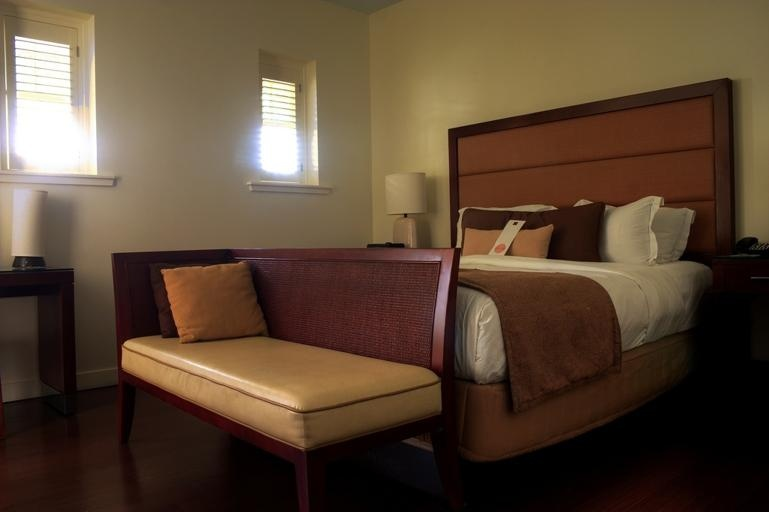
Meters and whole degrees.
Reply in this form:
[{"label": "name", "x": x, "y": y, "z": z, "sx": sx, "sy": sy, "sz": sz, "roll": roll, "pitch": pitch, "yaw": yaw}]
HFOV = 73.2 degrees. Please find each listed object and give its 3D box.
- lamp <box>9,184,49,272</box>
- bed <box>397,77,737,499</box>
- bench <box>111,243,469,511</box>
[{"label": "lamp", "x": -2.583, "y": -0.206, "z": 3.784, "sx": 0.223, "sy": 0.557, "sz": 0.297, "roll": -3, "pitch": 9, "yaw": -23}, {"label": "bed", "x": 1.050, "y": -0.075, "z": 3.829, "sx": 2.367, "sy": 1.785, "sz": 2.271, "roll": -2, "pitch": 0, "yaw": -37}, {"label": "bench", "x": -0.571, "y": 0.520, "z": 2.750, "sx": 1.963, "sy": 1.224, "sz": 0.771, "roll": 8, "pitch": 11, "yaw": 39}]
